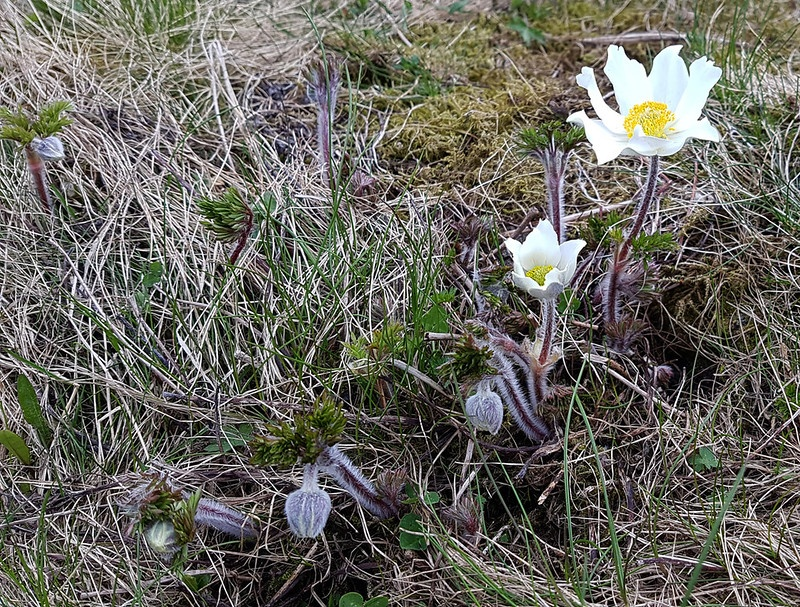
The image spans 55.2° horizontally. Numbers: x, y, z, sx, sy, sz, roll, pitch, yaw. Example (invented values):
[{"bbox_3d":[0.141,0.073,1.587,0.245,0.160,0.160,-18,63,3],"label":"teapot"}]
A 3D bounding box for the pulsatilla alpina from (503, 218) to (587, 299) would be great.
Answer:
[{"bbox_3d":[0.635,-0.122,3.217,0.355,0.255,0.360,-16,29,-8],"label":"pulsatilla alpina"}]
